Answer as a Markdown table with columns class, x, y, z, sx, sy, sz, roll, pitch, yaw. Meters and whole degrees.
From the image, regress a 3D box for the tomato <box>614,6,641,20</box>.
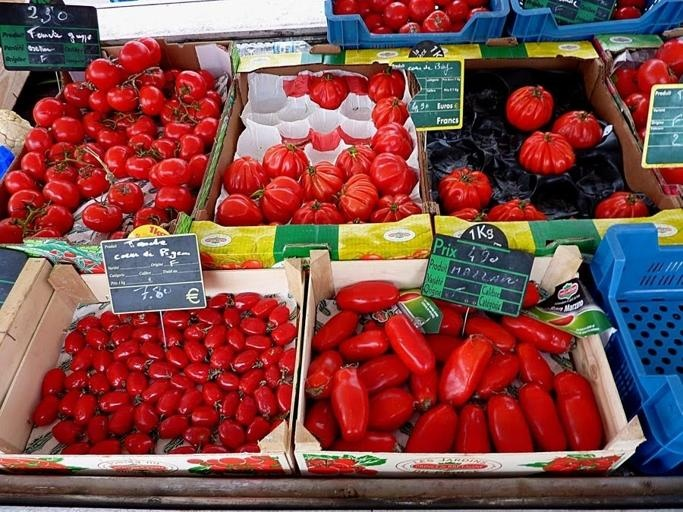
| class | x | y | z | sx | sy | sz | roll | pitch | yaw |
| --- | --- | --- | --- | --- | --- | --- | --- | --- | --- |
| tomato | 2.216 | -1.855 | 3.472 | 0.143 | 0.093 | 0.176 | -5 | 11 | 1 |
